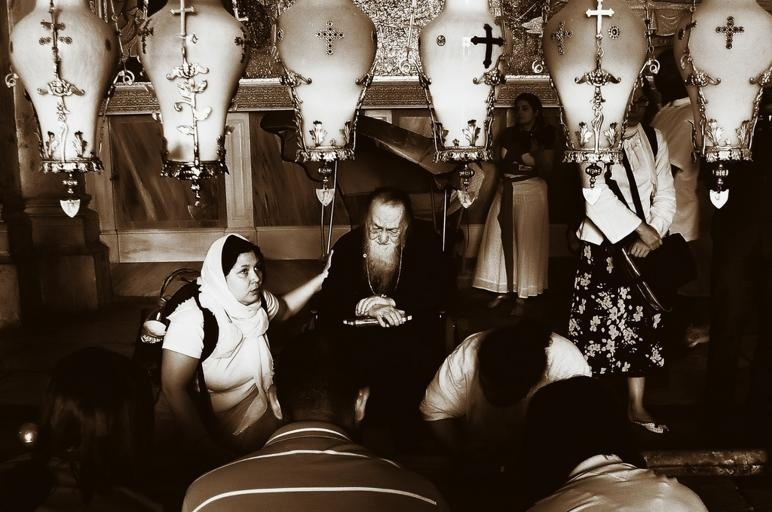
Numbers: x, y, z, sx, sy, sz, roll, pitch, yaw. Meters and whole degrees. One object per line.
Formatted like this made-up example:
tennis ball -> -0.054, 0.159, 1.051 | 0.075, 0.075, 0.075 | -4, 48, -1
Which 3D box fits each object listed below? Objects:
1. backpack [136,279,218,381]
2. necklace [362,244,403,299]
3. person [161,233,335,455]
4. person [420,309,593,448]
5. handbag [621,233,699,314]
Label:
backpack -> -1.186, 0.435, 4.874 | 0.255, 0.444, 0.338 | 23, 23, -11
necklace -> -0.029, 0.084, 5.270 | 0.159, 0.327, 0.083 | -1, 6, -2
person -> -0.791, 0.533, 4.905 | 0.441, 1.360, 0.899 | 16, 25, 42
person -> 0.651, 0.669, 4.770 | 0.877, 1.035, 0.552 | -20, 50, -5
handbag -> 1.639, 0.089, 5.076 | 0.448, 0.466, 0.136 | -35, 10, -19
